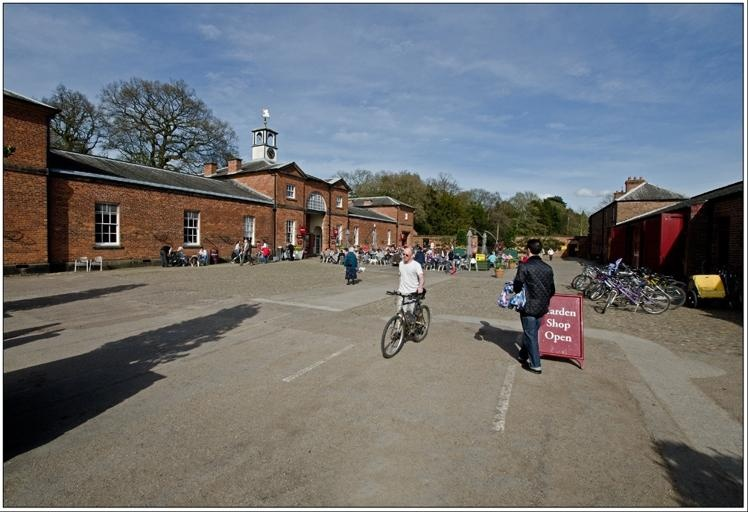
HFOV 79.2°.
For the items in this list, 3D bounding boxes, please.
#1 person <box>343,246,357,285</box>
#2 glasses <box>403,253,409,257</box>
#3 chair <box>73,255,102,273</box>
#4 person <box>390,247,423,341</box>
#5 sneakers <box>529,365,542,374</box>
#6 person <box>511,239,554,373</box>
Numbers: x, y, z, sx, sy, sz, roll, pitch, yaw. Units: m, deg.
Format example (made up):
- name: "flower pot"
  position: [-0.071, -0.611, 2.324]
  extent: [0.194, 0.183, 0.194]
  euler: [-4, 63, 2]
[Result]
- name: "person"
  position: [-1.011, 0.457, 19.720]
  extent: [0.508, 1.573, 1.767]
  euler: [1, 6, -2]
- name: "glasses"
  position: [0.668, -0.018, 9.566]
  extent: [0.114, 0.095, 0.173]
  euler: [2, 6, 10]
- name: "chair"
  position: [-13.586, 0.360, 21.542]
  extent: [0.706, 0.690, 1.535]
  euler: [3, 6, 19]
- name: "person"
  position: [0.809, 0.718, 10.114]
  extent: [0.576, 1.885, 1.388]
  euler: [2, 6, 5]
- name: "sneakers"
  position: [3.069, 2.141, 8.580]
  extent: [0.257, 0.135, 0.247]
  euler: [3, 6, 17]
- name: "person"
  position: [3.090, 0.926, 8.829]
  extent: [0.750, 2.504, 0.882]
  euler: [4, 7, 21]
